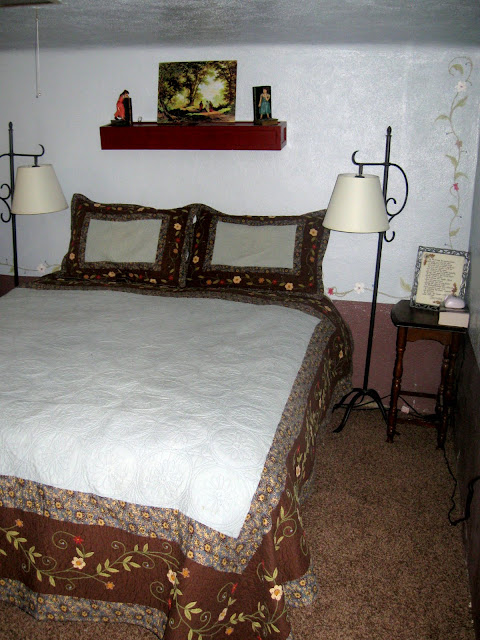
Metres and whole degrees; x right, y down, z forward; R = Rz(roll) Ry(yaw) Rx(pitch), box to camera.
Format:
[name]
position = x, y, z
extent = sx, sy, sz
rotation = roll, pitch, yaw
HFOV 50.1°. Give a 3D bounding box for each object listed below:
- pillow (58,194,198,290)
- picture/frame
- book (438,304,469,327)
[pillow]
position = -0.573, -0.392, 2.719
extent = 0.685, 0.472, 0.157
rotation = 5, -8, 20
[picture/frame]
position = 0.969, -0.188, 2.476
extent = 0.301, 0.379, 0.024
rotation = 9, 3, 10
[book]
position = 0.948, -0.004, 2.283
extent = 0.126, 0.073, 0.068
rotation = 10, 17, 20
